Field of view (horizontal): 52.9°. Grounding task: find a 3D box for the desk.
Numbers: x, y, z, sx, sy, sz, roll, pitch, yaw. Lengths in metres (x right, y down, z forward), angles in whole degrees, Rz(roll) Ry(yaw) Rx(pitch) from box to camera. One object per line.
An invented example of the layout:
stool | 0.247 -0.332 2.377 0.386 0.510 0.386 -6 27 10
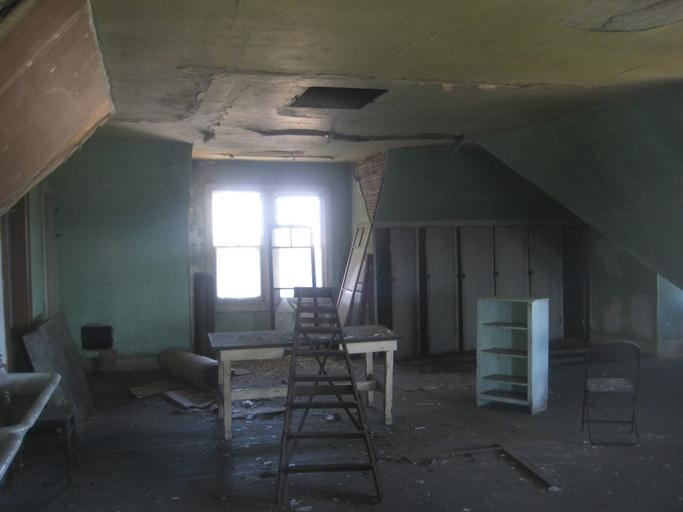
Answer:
desk | -0.477 1.471 8.249 2.219 1.113 1.072 0 4 -18

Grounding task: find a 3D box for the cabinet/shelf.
cabinet/shelf | 2.111 1.168 8.456 0.887 1.365 0.717 3 11 20
